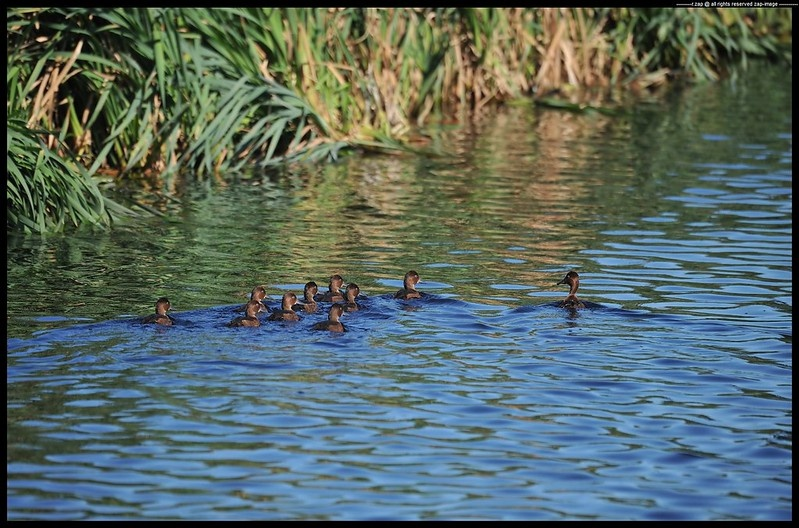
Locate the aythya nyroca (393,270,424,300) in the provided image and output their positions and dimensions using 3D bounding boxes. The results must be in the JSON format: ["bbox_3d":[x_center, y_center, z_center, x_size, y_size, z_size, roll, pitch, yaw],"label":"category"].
[{"bbox_3d":[0.143,0.291,12.357,0.401,0.347,0.610,4,23,0],"label":"aythya nyroca"}]

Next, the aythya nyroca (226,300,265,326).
[{"bbox_3d":[-2.060,0.649,11.132,0.441,0.292,0.387,1,24,-6],"label":"aythya nyroca"}]
